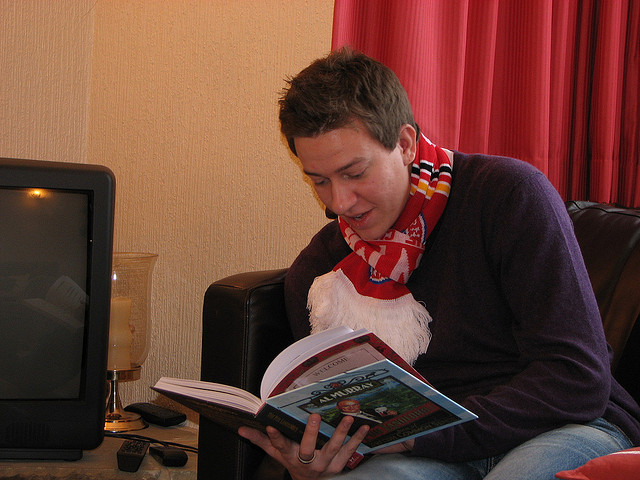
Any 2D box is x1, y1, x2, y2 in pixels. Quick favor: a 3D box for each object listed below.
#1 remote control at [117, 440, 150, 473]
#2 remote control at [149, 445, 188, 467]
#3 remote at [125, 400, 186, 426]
[{"bbox_3d":[-0.511,0.578,1.584,0.068,0.051,0.121,-5,10,-6],"label":"remote control"},{"bbox_3d":[-0.417,0.585,1.603,0.049,0.027,0.088,4,-4,-26],"label":"remote control"},{"bbox_3d":[-0.548,0.560,1.926,0.153,0.033,0.083,15,9,28],"label":"remote"}]
